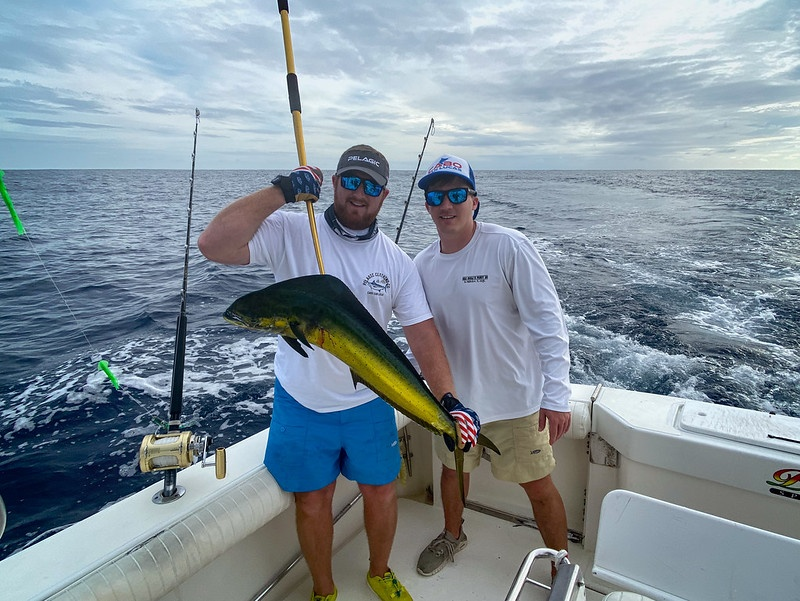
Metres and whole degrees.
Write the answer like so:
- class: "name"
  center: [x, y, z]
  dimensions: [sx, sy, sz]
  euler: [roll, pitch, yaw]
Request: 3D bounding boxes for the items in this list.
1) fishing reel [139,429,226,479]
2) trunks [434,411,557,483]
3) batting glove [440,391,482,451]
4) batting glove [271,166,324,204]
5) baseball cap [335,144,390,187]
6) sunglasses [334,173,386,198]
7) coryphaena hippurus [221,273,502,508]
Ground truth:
- class: "fishing reel"
  center: [-1.216, 0.838, 2.762]
  dimensions: [0.424, 0.201, 0.311]
  euler: [1, -9, -9]
- class: "trunks"
  center: [0.594, 0.901, 3.007]
  dimensions: [0.647, 0.431, 0.375]
  euler: [-9, 7, 33]
- class: "batting glove"
  center: [0.305, 0.674, 2.723]
  dimensions: [0.127, 0.238, 0.297]
  euler: [-22, 23, 18]
- class: "batting glove"
  center: [-0.517, -0.601, 2.511]
  dimensions: [0.264, 0.158, 0.086]
  euler: [-4, -9, 0]
- class: "baseball cap"
  center: [-0.199, -0.826, 2.844]
  dimensions: [0.314, 0.195, 0.401]
  euler: [8, 16, -4]
- class: "sunglasses"
  center: [-0.223, -0.653, 2.753]
  dimensions: [0.231, 0.122, 0.063]
  euler: [0, 15, -8]
- class: "coryphaena hippurus"
  center: [-0.202, 0.285, 2.436]
  dimensions: [1.532, 0.538, 0.241]
  euler: [31, 29, 16]
